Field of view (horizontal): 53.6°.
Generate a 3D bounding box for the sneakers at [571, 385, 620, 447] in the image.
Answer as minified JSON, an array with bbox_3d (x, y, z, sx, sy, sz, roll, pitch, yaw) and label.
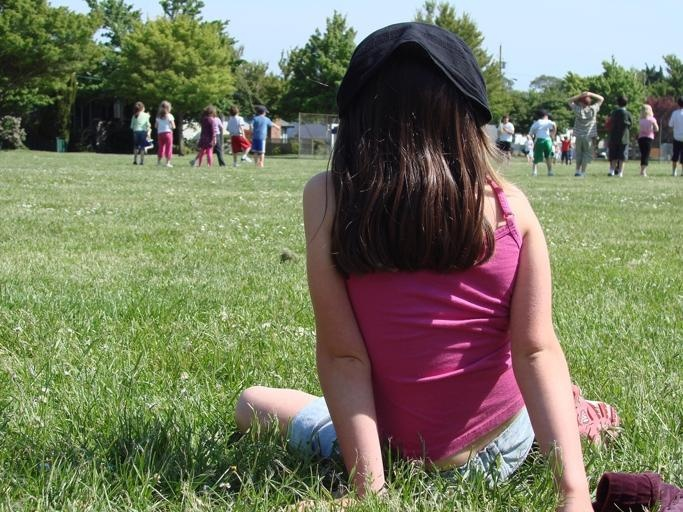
[{"bbox_3d":[1.069,0.672,2.838,0.282,0.116,0.200,21,34,-52],"label":"sneakers"}]
